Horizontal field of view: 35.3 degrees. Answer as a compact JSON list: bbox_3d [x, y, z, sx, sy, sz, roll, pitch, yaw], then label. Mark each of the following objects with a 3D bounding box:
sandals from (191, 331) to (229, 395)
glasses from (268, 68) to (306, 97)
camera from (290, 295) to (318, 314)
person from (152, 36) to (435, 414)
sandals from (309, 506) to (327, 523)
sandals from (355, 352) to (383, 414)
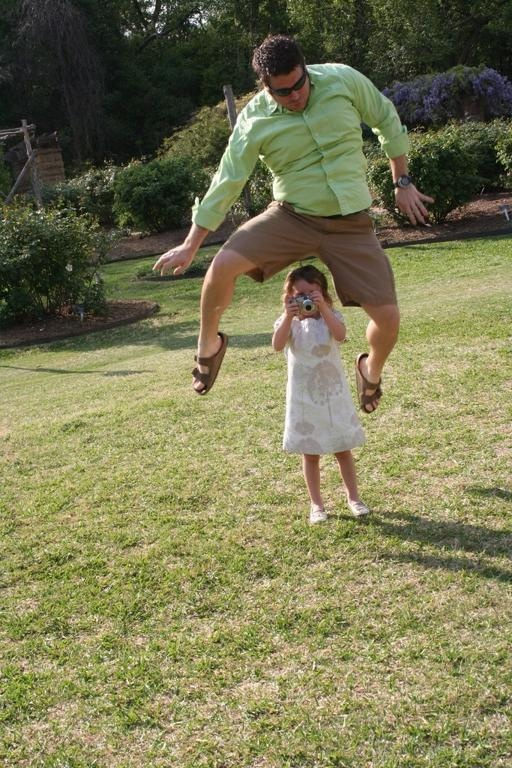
[{"bbox_3d":[-0.224,-0.066,3.454,0.118,0.295,0.127,33,26,34],"label":"sandals"},{"bbox_3d":[0.112,-1.064,2.856,0.139,0.096,0.094,-3,8,1],"label":"glasses"},{"bbox_3d":[0.188,-0.311,3.140,0.084,0.074,0.030,1,39,3],"label":"camera"},{"bbox_3d":[0.157,-0.555,3.229,1.178,1.535,0.617,-9,10,-34],"label":"person"},{"bbox_3d":[0.250,0.527,3.233,0.061,0.038,0.143,-7,-2,4],"label":"sandals"},{"bbox_3d":[0.513,-0.001,3.694,0.118,0.271,0.090,-15,15,-39],"label":"sandals"}]
